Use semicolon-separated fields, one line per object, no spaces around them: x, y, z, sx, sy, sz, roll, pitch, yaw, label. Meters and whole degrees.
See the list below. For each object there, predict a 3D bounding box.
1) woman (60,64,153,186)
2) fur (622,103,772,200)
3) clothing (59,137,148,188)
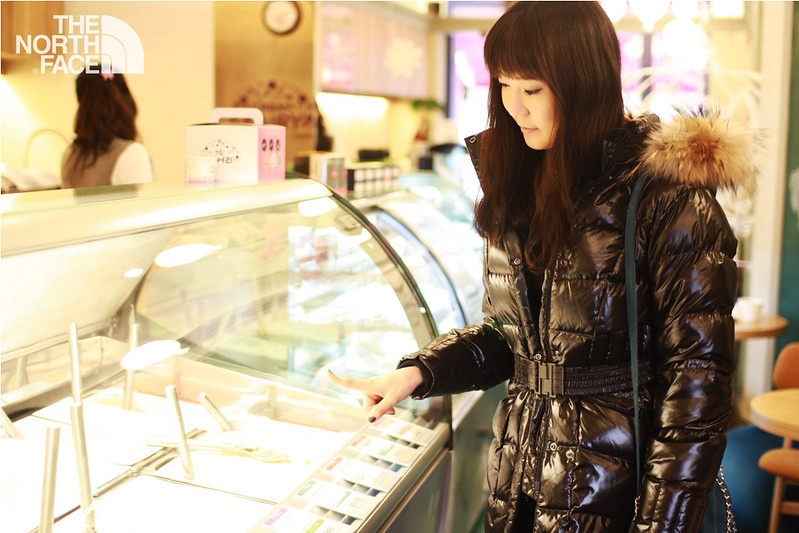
-1.451;-0.682;3.058;0.429;0.557;0.264;-3;13;-14;woman
0.721;-0.275;1.513;0.248;0.129;0.213;0;20;-35;fur
-1.395;-0.494;2.992;0.457;0.279;0.233;3;5;7;clothing
